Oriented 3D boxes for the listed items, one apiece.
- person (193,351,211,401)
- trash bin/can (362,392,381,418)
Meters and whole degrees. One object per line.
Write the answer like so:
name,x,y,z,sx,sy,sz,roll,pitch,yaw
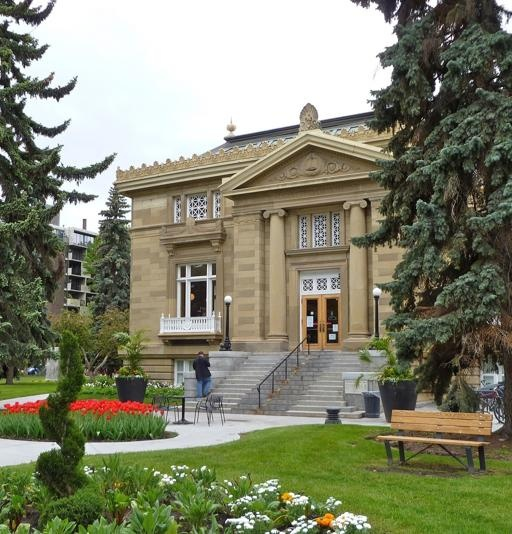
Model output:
person,-1.733,3.423,24.759,0.533,1.493,2.622,0,-10,-5
trash bin/can,3.331,3.980,22.685,0.493,0.697,0.602,-7,-12,18
